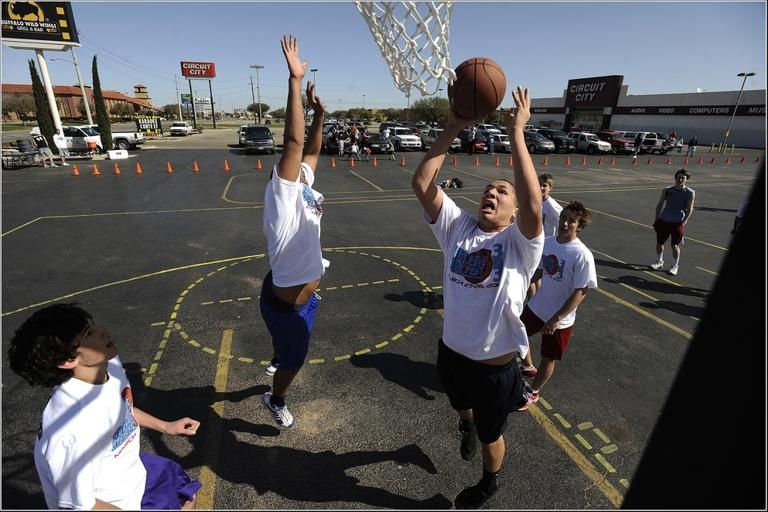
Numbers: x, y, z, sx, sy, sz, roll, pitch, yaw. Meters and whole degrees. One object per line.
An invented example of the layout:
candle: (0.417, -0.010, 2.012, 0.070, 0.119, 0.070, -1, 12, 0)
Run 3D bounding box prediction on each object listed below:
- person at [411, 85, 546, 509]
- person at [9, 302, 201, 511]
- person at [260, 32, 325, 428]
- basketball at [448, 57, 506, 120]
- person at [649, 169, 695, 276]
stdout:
person: (0.773, 0.459, 3.323, 0.580, 3.390, 0.960, -11, 24, -27)
person: (-1.913, 1.152, 2.779, 0.679, 1.723, 0.780, 13, 25, 30)
person: (-0.944, -0.046, 4.214, 0.719, 3.596, 1.342, 2, 10, -5)
basketball: (0.762, -1.322, 3.254, 0.466, 0.445, 0.439, -8, 33, -7)
person: (5.741, -0.610, 7.722, 0.765, 2.009, 0.986, 0, 3, 8)
